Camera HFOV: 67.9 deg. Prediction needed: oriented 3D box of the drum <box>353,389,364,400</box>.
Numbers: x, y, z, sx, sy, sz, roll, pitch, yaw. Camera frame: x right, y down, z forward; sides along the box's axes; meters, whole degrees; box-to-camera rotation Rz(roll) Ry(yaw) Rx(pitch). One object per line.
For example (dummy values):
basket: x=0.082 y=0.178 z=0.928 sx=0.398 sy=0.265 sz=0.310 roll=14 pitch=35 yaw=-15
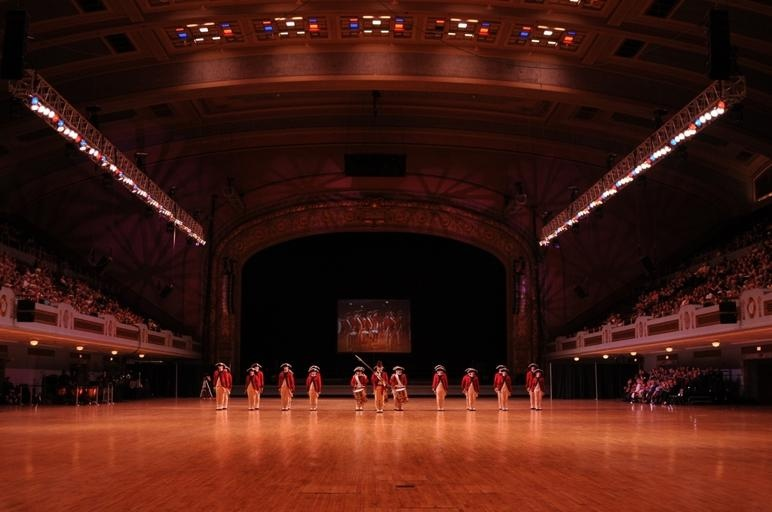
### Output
drum: x=-1.145 y=6.223 z=25.952 sx=0.412 sy=0.515 sz=0.675 roll=3 pitch=-18 yaw=-10

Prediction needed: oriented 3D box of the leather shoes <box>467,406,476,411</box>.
leather shoes: x=3.945 y=7.018 z=26.563 sx=0.506 sy=0.218 sz=0.165 roll=-6 pitch=-12 yaw=0

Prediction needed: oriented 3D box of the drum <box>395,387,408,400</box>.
drum: x=0.763 y=6.458 z=26.889 sx=0.573 sy=0.662 sz=0.611 roll=2 pitch=-1 yaw=-4
